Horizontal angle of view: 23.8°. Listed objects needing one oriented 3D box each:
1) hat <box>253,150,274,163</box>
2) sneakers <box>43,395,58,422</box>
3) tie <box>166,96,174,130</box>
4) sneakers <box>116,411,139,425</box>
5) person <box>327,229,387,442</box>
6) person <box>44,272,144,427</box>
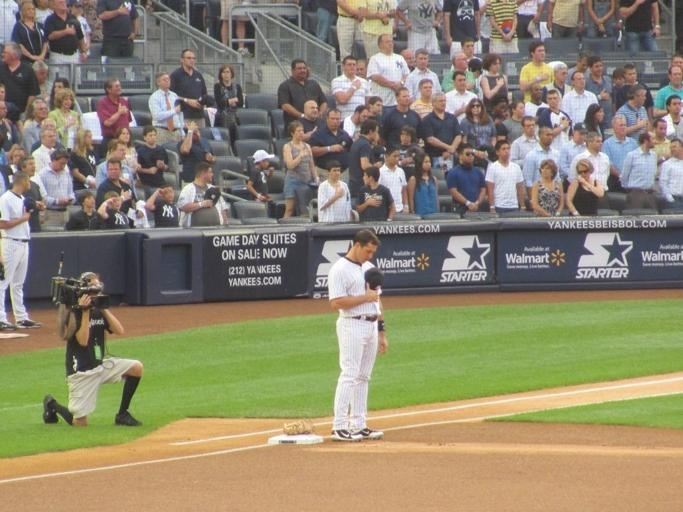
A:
[{"bbox_3d":[-1.494,-1.990,31.933,0.366,0.190,0.264,-10,9,-38],"label":"hat"},{"bbox_3d":[-4.274,2.240,23.794,0.158,0.426,0.172,0,3,-45],"label":"sneakers"},{"bbox_3d":[-3.453,-2.871,32.598,0.147,0.670,0.131,-11,17,-37],"label":"tie"},{"bbox_3d":[-3.143,2.361,23.739,0.315,0.198,0.170,1,0,3],"label":"sneakers"},{"bbox_3d":[0.206,1.096,22.910,0.711,2.862,0.884,0,13,0],"label":"person"},{"bbox_3d":[-3.663,1.468,23.608,1.435,2.003,0.645,-2,14,-9],"label":"person"}]
